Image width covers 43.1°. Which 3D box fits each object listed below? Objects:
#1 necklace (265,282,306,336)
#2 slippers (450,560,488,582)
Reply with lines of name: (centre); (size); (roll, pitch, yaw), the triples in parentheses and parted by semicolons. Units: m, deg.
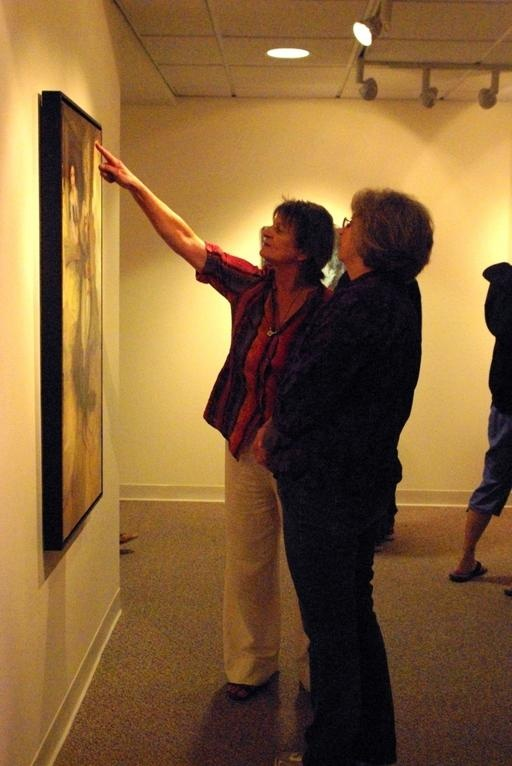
necklace: (0.059, -0.151, 1.313); (0.056, 0.104, 0.025); (10, -3, 44)
slippers: (0.364, 0.328, 1.108); (0.067, 0.024, 0.027); (-13, 10, -11)
